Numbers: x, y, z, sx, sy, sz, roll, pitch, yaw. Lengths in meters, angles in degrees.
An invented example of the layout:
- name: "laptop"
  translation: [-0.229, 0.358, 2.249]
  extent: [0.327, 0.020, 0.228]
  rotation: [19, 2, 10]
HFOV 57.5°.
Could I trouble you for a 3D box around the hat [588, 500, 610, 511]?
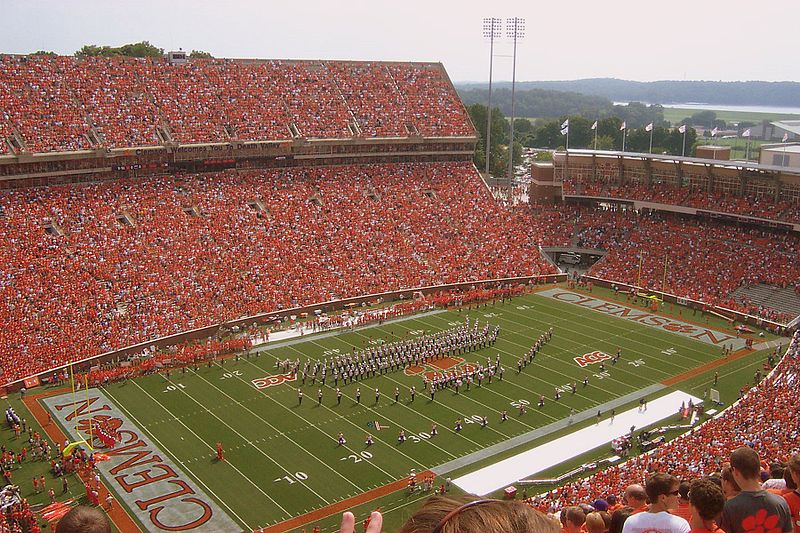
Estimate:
- name: "hat"
  translation: [4.690, 5.617, 17.025]
  extent: [0.301, 0.157, 0.456]
  rotation: [3, 5, 33]
